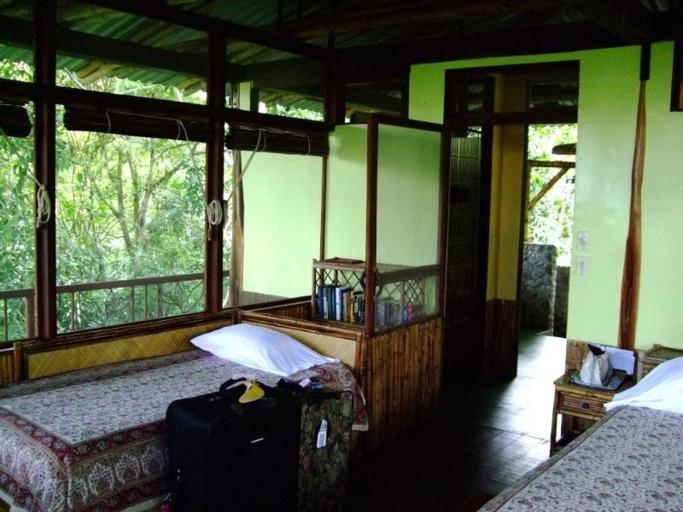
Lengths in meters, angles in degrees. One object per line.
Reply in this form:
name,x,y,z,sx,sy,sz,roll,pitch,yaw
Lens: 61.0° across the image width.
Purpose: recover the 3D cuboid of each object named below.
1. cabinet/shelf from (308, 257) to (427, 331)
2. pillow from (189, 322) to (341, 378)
cabinet/shelf,0.318,0.309,4.999,0.671,0.442,0.683,5,8,38
pillow,-0.661,0.699,4.441,0.800,0.169,0.454,7,7,37
